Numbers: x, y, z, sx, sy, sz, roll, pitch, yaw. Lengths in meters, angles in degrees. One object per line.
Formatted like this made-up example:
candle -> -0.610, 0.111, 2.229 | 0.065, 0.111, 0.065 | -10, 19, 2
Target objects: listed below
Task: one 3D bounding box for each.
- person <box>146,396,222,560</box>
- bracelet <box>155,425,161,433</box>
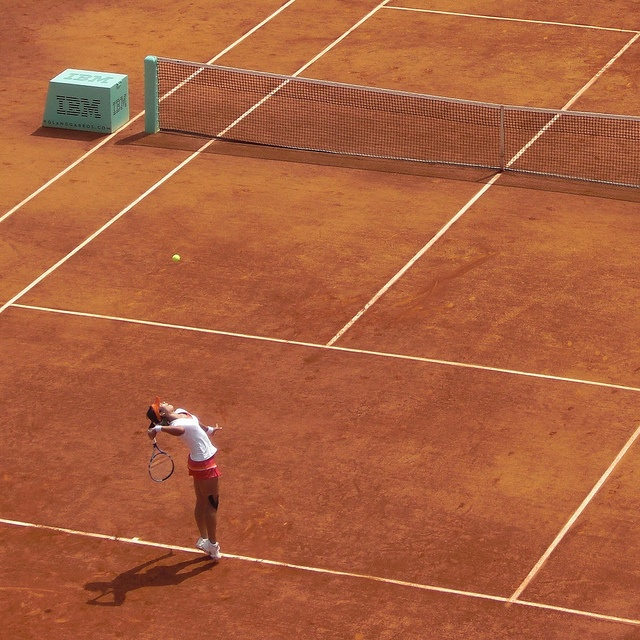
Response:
person -> -1.155, 1.348, 9.369 | 0.634, 1.404, 0.604 | 1, 24, -8
bracelet -> -1.305, 0.889, 8.914 | 0.058, 0.032, 0.050 | 1, -1, -3
